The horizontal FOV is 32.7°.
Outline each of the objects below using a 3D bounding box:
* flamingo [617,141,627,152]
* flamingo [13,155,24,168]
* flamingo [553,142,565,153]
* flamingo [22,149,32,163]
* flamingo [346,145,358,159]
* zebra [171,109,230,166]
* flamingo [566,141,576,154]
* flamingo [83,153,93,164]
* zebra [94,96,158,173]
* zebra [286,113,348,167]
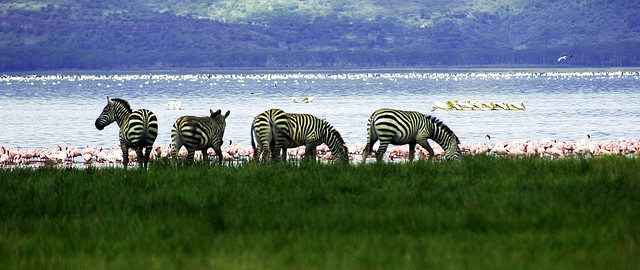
[{"bbox_3d":[34.419,1.272,124.669,0.973,1.121,0.902,0,1,14],"label":"flamingo"},{"bbox_3d":[-34.314,2.701,123.501,1.095,1.043,1.007,0,1,-14],"label":"flamingo"},{"bbox_3d":[27.210,1.343,124.554,1.451,1.140,0.612,-1,2,-41],"label":"flamingo"},{"bbox_3d":[-33.430,2.192,124.036,1.033,1.148,0.630,0,1,-13],"label":"flamingo"},{"bbox_3d":[3.472,1.822,123.982,1.833,1.394,0.656,-2,-8,18],"label":"flamingo"},{"bbox_3d":[-13.522,0.215,119.107,5.419,6.042,1.560,0,1,-1],"label":"zebra"},{"bbox_3d":[28.597,1.350,125.447,1.274,1.215,0.538,-2,11,-6],"label":"flamingo"},{"bbox_3d":[-26.560,2.568,123.979,0.981,1.190,0.990,0,1,-9],"label":"flamingo"},{"bbox_3d":[-20.954,-0.364,119.481,5.612,7.673,1.837,1,2,26],"label":"zebra"},{"bbox_3d":[-3.770,0.295,121.563,6.144,5.618,12.668,1,0,-8],"label":"zebra"}]
